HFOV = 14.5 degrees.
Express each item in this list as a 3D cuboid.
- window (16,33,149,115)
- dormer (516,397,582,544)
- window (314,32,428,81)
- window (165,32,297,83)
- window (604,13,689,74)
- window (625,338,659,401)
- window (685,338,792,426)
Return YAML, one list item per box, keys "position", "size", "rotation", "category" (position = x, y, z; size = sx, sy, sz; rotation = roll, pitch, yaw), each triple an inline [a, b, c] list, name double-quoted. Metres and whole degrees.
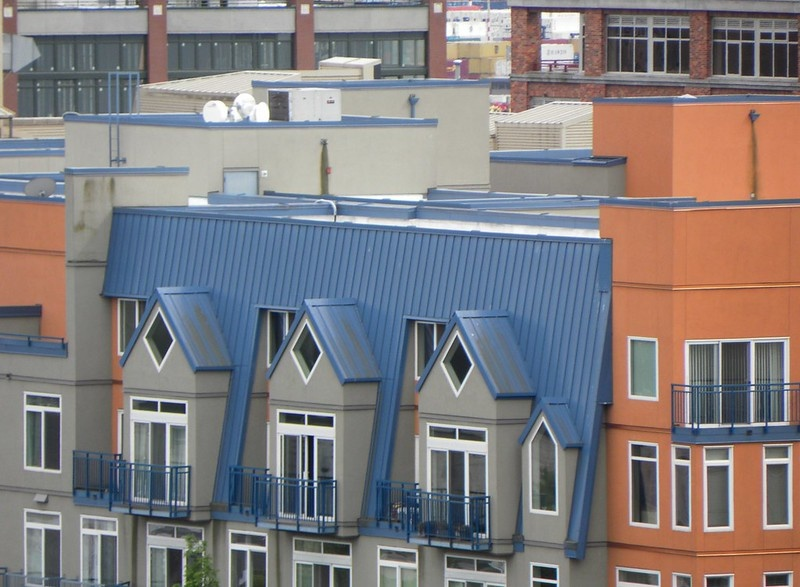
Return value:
- position: [-21.939, -15.712, 226.111]
  size: [8.434, 6.044, 0.493]
  rotation: [-4, 7, -39]
  category: "window"
- position: [6.085, 7.123, 126.582]
  size: [2.449, 5.949, 1.527]
  rotation: [0, -10, 8]
  category: "dormer"
- position: [-1.967, -18.259, 237.452]
  size: [3.221, 3.767, 10.373]
  rotation: [-11, 11, -35]
  category: "window"
- position: [-12.515, -17.738, 229.704]
  size: [11.646, 2.961, 0.374]
  rotation: [2, 9, 32]
  category: "window"
- position: [16.724, -16.575, 209.394]
  size: [6.214, 3.892, 0.373]
  rotation: [-1, 1, -18]
  category: "window"
- position: [9.797, 2.934, 126.161]
  size: [1.262, 2.392, 0.668]
  rotation: [-1, -10, 15]
  category: "window"
- position: [13.771, 3.561, 126.645]
  size: [3.917, 3.477, 1.502]
  rotation: [-2, -6, 22]
  category: "window"
